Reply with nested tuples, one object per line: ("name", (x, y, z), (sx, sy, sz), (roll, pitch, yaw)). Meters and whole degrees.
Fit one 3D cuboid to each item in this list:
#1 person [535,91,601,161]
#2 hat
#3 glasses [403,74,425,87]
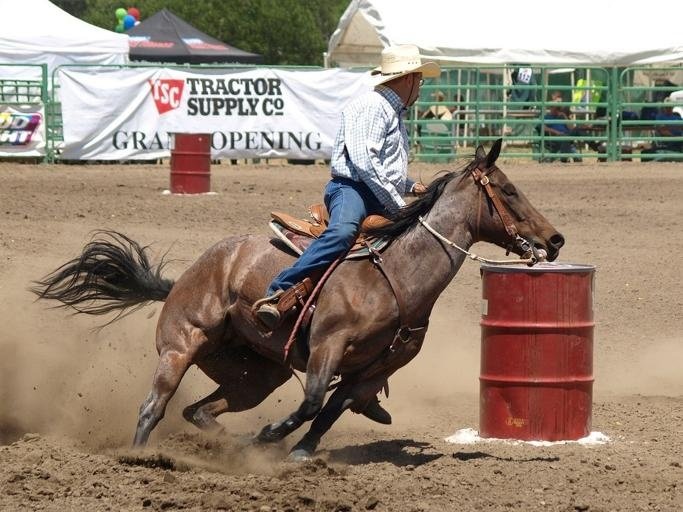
("person", (4.749, -2.701, 26.292), (0.648, 1.531, 1.262), (5, -8, -23))
("hat", (0.681, -2.079, 13.472), (0.562, 0.265, 0.538), (-19, 18, -17))
("glasses", (0.756, -1.895, 13.493), (0.185, 0.097, 0.131), (-1, 5, -22))
